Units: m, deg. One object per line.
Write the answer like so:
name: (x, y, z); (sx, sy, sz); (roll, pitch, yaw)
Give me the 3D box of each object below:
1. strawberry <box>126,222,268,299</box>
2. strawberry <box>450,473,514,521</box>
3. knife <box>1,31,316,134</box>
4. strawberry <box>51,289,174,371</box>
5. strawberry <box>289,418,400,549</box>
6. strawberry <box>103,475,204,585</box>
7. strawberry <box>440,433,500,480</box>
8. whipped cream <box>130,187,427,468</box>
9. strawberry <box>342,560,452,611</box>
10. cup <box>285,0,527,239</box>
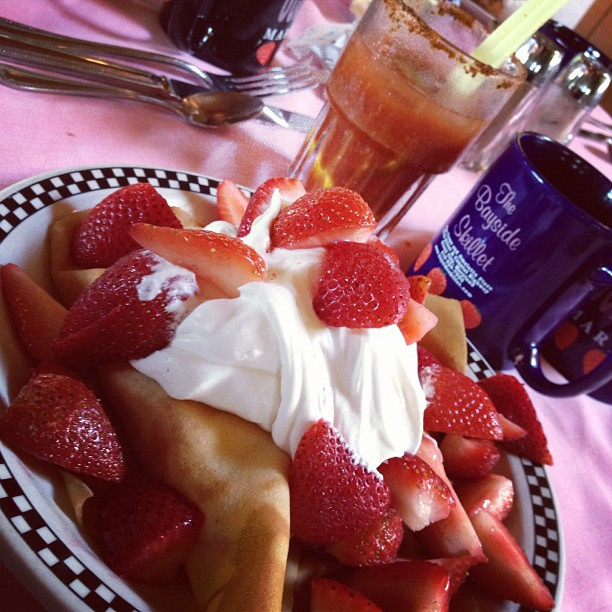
strawberry: (-0.106, -0.036, 0.653); (0.134, 0.040, 0.070); (22, 0, -11)
strawberry: (0.216, 0.237, 0.761); (0.079, 0.031, 0.063); (-2, 26, -4)
knife: (-0.224, -0.388, 1.101); (0.591, 0.048, 0.077); (2, 44, -34)
strawberry: (-0.212, 0.014, 0.666); (0.109, 0.045, 0.130); (-31, 54, -25)
strawberry: (0.023, 0.183, 0.628); (0.120, 0.116, 0.076); (40, 35, 7)
strawberry: (-0.149, 0.206, 0.583); (0.085, 0.055, 0.103); (13, 38, -26)
strawberry: (0.207, 0.194, 0.798); (0.081, 0.073, 0.042); (20, 77, -4)
whipped cream: (-0.030, 0.042, 0.678); (0.315, 0.104, 0.245); (17, 62, -26)
strawberry: (0.094, 0.280, 0.639); (0.100, 0.031, 0.050); (2, 29, 18)
cup: (0.123, -0.275, 0.943); (0.252, 0.381, 0.167); (32, 37, -10)
